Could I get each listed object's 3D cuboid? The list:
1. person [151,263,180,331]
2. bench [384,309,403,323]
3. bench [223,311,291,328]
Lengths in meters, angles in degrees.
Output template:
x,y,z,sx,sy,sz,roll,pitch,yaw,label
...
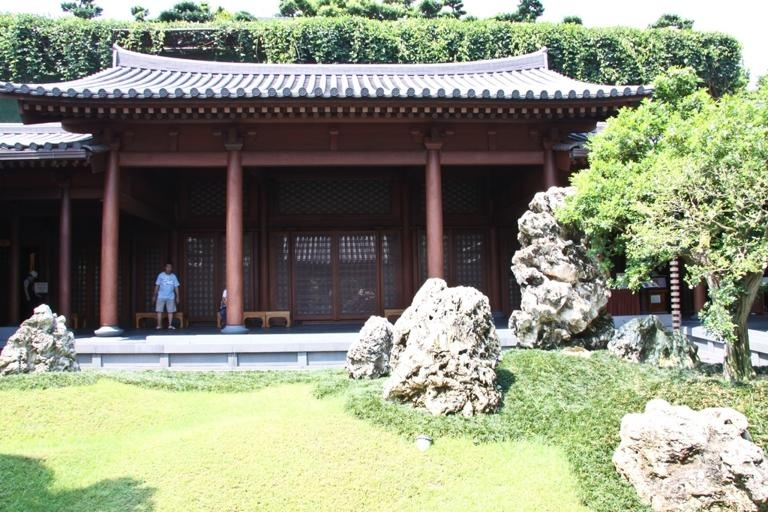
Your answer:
x,y,z,sx,sy,sz,roll,pitch,yaw,label
-5.549,1.036,19.463,0.569,1.641,1.228,0,-2,-16,person
0.252,1.575,19.729,0.517,0.341,1.121,0,-1,1,bench
-2.974,1.617,19.569,1.236,0.402,1.305,0,-1,-14,bench
